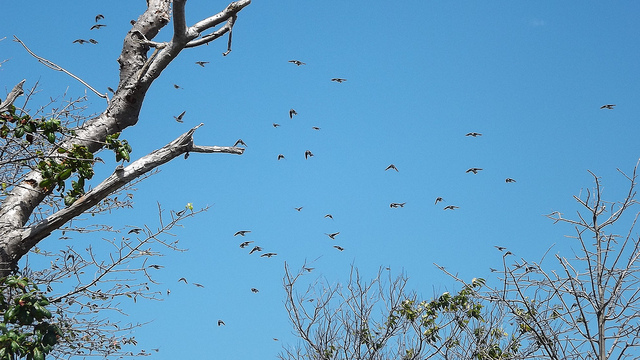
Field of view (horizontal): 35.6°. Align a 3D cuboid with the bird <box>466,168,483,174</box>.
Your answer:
[{"bbox_3d":[2.169,-0.118,14.108,0.069,0.238,0.103,33,-57,45],"label":"bird"}]
